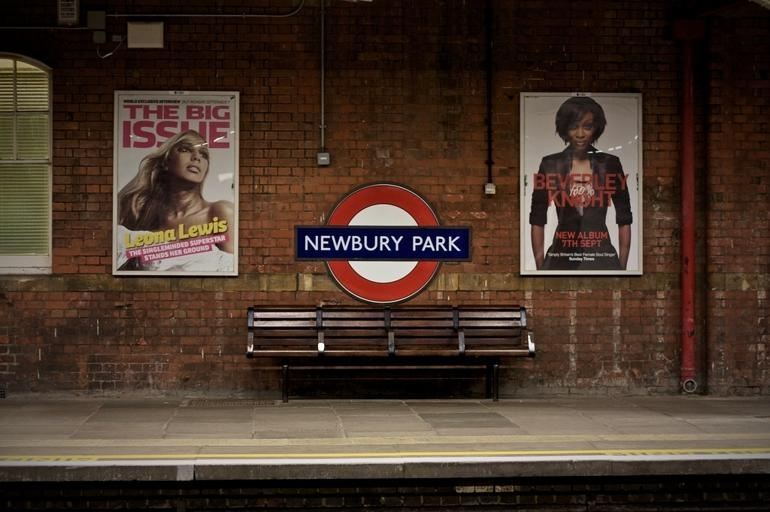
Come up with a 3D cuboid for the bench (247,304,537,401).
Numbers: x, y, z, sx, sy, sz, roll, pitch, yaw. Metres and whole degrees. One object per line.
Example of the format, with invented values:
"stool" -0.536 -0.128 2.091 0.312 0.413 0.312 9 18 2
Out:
"bench" 0.076 1.525 17.529 4.369 1.377 1.047 0 4 -6
